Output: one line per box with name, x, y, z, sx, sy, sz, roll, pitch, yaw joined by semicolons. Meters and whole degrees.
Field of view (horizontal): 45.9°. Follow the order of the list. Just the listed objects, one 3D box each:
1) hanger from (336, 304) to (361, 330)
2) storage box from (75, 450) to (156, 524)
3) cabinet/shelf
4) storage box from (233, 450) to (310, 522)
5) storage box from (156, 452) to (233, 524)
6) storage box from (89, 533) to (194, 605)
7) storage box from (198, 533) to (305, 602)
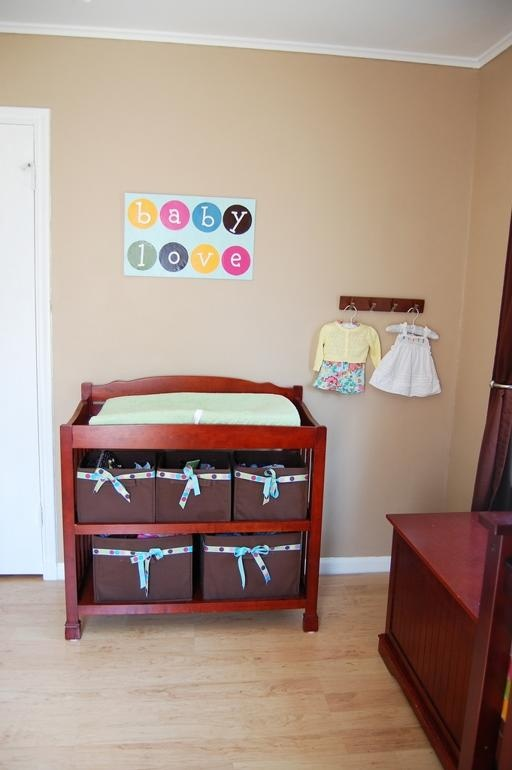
hanger;0.385;-0.288;2.548;0.107;0.126;0.015;0;3;-10
storage box;-0.501;0.369;2.160;0.258;0.163;0.260;2;7;-10
cabinet/shelf;-0.230;0.503;2.341;0.888;0.799;0.490;-1;4;-2
storage box;0.053;0.373;2.252;0.278;0.200;0.234;3;11;7
storage box;-0.228;0.357;2.257;0.265;0.199;0.334;1;10;-6
storage box;-0.411;0.657;2.222;0.276;0.177;0.280;0;0;-7
storage box;-0.014;0.643;2.281;0.357;0.228;0.226;-1;8;-4
